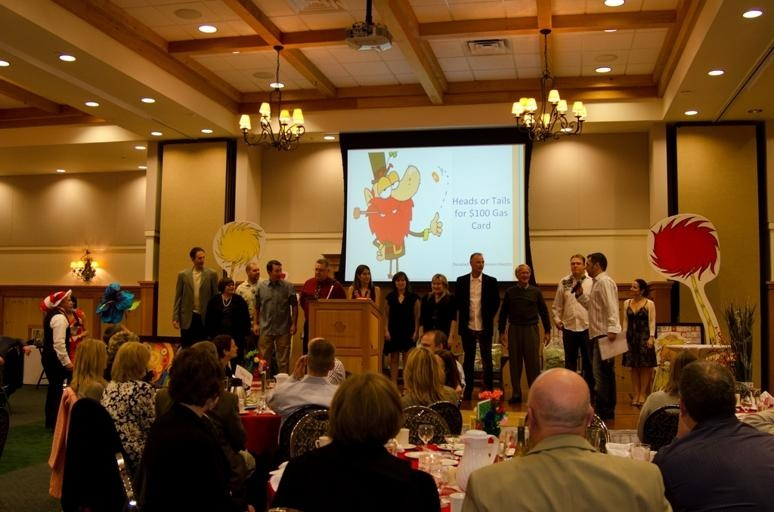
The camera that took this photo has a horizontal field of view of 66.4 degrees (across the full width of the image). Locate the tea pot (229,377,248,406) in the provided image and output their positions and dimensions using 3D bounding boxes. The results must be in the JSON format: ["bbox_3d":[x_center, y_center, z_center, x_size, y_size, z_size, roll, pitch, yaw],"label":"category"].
[{"bbox_3d":[-1.370,1.265,5.451,0.167,0.175,0.310,-1,22,-26],"label":"tea pot"}]

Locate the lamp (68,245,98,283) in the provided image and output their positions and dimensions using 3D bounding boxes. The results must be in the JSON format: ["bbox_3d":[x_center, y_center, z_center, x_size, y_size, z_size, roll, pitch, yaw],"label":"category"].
[{"bbox_3d":[-7.365,0.276,14.507,0.521,0.852,0.248,-1,9,-17],"label":"lamp"}]

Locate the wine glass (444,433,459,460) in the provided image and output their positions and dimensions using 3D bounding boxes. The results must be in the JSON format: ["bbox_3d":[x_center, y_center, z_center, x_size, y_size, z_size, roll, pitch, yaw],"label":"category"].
[{"bbox_3d":[0.464,1.334,4.094,0.100,0.158,0.100,2,5,26],"label":"wine glass"}]

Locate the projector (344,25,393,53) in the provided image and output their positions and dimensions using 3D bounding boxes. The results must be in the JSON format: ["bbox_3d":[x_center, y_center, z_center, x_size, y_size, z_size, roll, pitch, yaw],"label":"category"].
[{"bbox_3d":[-0.228,-2.845,7.695,0.541,0.296,0.408,-1,-6,7],"label":"projector"}]

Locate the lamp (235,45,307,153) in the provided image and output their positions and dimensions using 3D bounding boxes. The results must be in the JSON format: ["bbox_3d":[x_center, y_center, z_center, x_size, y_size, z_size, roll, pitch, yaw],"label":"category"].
[{"bbox_3d":[-1.973,-2.841,10.578,1.093,1.762,1.017,0,0,44],"label":"lamp"}]

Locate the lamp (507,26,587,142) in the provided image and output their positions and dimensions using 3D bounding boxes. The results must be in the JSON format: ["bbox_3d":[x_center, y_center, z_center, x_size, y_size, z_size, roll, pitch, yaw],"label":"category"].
[{"bbox_3d":[2.659,-2.934,9.837,1.260,1.829,1.027,5,-10,-37],"label":"lamp"}]

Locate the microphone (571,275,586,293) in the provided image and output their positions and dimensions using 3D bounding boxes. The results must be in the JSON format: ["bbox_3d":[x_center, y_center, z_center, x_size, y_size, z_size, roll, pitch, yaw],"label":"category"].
[{"bbox_3d":[2.688,0.444,8.333,0.099,0.107,0.388,34,41,10],"label":"microphone"}]
